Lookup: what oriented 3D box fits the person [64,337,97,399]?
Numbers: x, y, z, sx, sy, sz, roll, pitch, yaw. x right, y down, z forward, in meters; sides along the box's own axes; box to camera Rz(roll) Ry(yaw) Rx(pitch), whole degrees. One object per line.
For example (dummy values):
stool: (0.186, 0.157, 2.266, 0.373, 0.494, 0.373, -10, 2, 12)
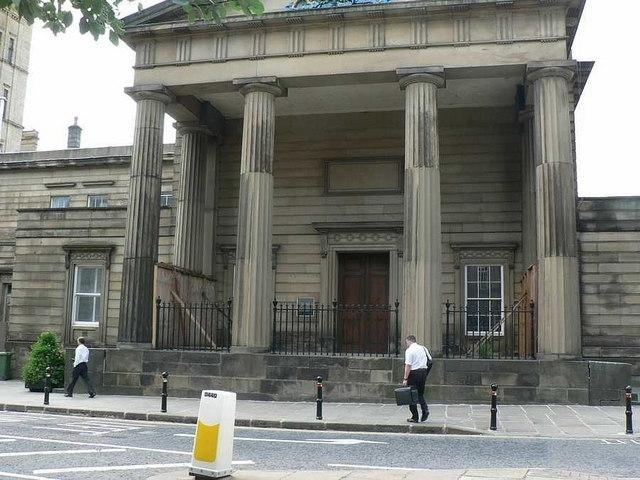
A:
person: (-7.179, 3.805, 21.796, 0.827, 1.772, 1.326, 4, -10, -19)
